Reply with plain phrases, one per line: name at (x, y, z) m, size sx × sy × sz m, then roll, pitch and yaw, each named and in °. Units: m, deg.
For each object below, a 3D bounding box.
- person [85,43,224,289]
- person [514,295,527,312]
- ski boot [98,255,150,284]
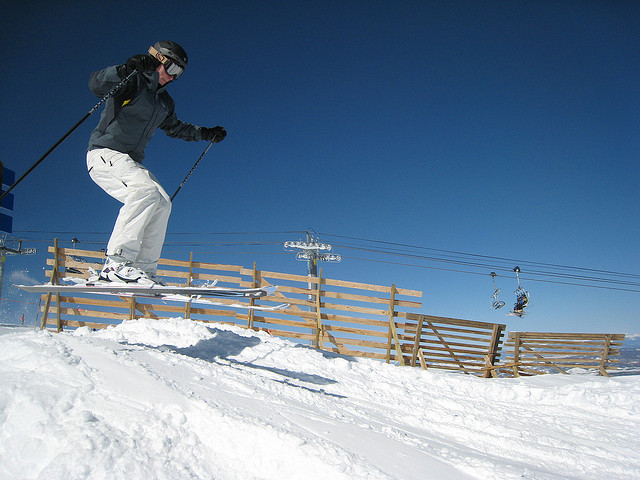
person at (-2.297, -0.917, 5.713) m, size 1.289 × 2.989 × 1.004 m, roll 15°, pitch -15°, yaw -37°
person at (9.015, 2.816, 20.834) m, size 0.286 × 0.750 × 0.579 m, roll 7°, pitch -12°, yaw -2°
ski boot at (-2.379, 0.368, 5.665) m, size 0.601 × 0.327 × 0.237 m, roll 7°, pitch -12°, yaw -13°
